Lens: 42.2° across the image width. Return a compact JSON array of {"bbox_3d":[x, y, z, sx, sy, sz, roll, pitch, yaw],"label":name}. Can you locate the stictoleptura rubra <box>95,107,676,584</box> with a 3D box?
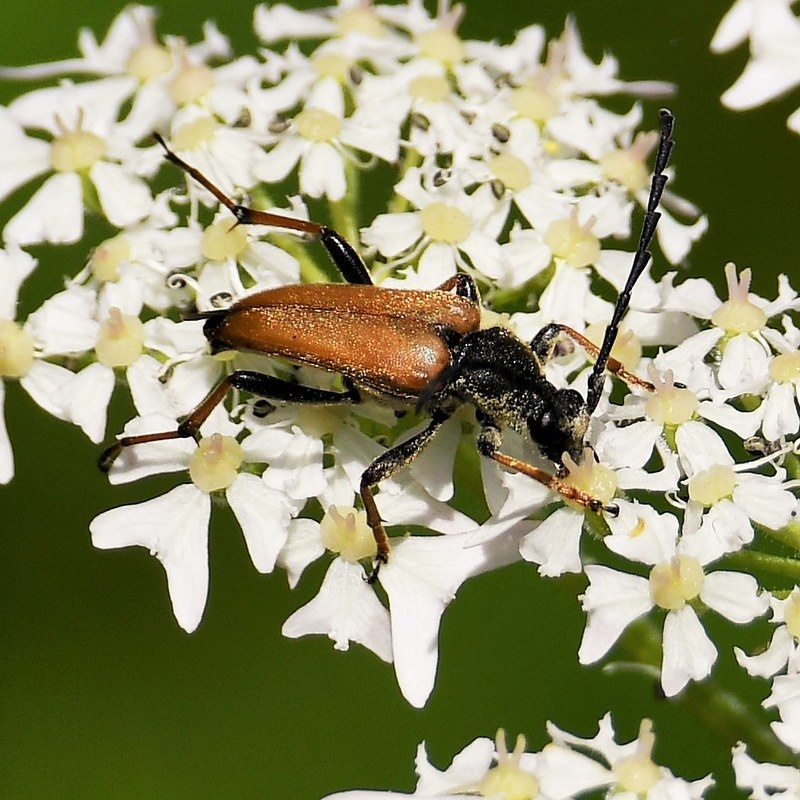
[{"bbox_3d":[-0.101,-0.205,3.290,1.948,1.402,0.687,13,33,-23],"label":"stictoleptura rubra"}]
